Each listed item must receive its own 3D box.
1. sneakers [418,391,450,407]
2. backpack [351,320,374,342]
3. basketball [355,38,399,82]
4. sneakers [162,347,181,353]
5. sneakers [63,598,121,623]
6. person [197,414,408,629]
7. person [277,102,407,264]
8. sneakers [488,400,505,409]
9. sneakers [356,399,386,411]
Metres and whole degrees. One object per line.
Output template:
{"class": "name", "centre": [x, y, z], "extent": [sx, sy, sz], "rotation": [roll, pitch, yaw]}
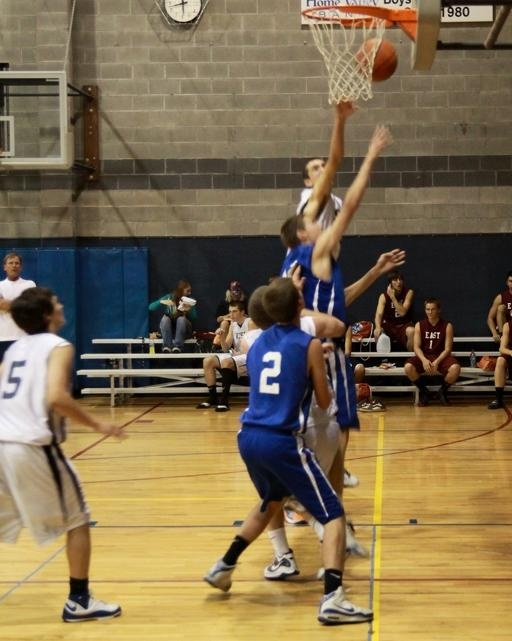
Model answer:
{"class": "sneakers", "centre": [1.829, 0.799, 10.875], "extent": [0.423, 0.182, 0.136], "rotation": [4, -5, -6]}
{"class": "backpack", "centre": [1.126, 0.122, 11.385], "extent": [0.218, 0.114, 0.261], "rotation": [-2, 1, 7]}
{"class": "basketball", "centre": [0.724, -1.511, 6.174], "extent": [0.231, 0.196, 0.237], "rotation": [-2, 2, 14]}
{"class": "sneakers", "centre": [-0.902, 0.315, 11.311], "extent": [0.189, 0.070, 0.115], "rotation": [4, 7, 0]}
{"class": "sneakers", "centre": [-0.800, 1.388, 5.132], "extent": [0.293, 0.136, 0.107], "rotation": [1, -8, -12]}
{"class": "person", "centre": [0.179, 1.071, 5.536], "extent": [1.036, 1.228, 0.537], "rotation": [1, -2, -19]}
{"class": "person", "centre": [0.315, -0.733, 5.625], "extent": [0.333, 0.810, 0.642], "rotation": [4, 7, 1]}
{"class": "sneakers", "centre": [2.366, 0.832, 10.583], "extent": [0.195, 0.076, 0.064], "rotation": [5, -5, -44]}
{"class": "sneakers", "centre": [1.151, 0.837, 10.691], "extent": [0.311, 0.137, 0.108], "rotation": [3, -3, 8]}
